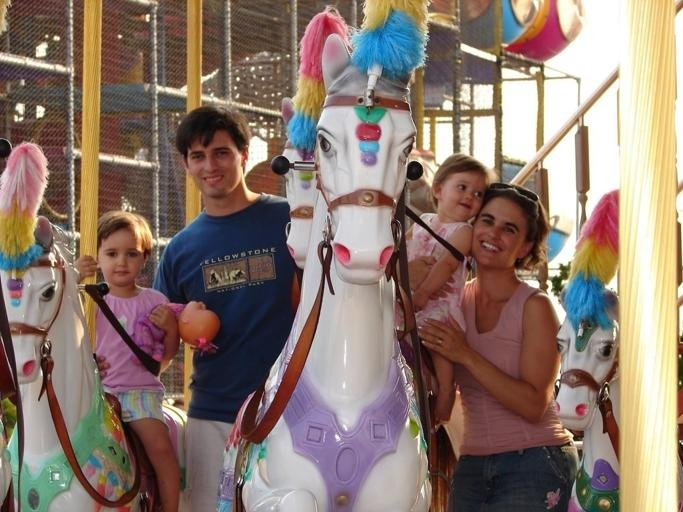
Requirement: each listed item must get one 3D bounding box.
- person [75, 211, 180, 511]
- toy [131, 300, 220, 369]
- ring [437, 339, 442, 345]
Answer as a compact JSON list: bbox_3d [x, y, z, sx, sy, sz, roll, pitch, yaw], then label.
[{"bbox_3d":[-1.069,0.483,4.169,0.480,1.390,0.869,0,3,-17],"label":"person"},{"bbox_3d":[-0.745,0.338,4.012,0.353,0.232,0.209,3,4,33],"label":"toy"},{"bbox_3d":[0.429,0.373,3.603,0.024,0.027,0.006,0,-3,27],"label":"ring"}]
